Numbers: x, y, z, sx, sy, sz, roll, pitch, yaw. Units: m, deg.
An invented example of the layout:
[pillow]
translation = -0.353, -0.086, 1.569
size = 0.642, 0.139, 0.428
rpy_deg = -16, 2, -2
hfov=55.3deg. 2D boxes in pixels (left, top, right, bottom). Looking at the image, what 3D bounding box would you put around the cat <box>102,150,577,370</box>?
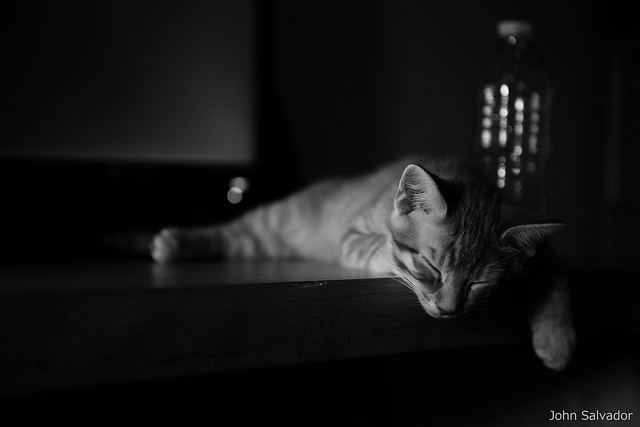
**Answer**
[cat]
translation = 0.110, 0.011, 2.165
size = 1.463, 0.656, 0.766
rpy_deg = 10, 18, 31
